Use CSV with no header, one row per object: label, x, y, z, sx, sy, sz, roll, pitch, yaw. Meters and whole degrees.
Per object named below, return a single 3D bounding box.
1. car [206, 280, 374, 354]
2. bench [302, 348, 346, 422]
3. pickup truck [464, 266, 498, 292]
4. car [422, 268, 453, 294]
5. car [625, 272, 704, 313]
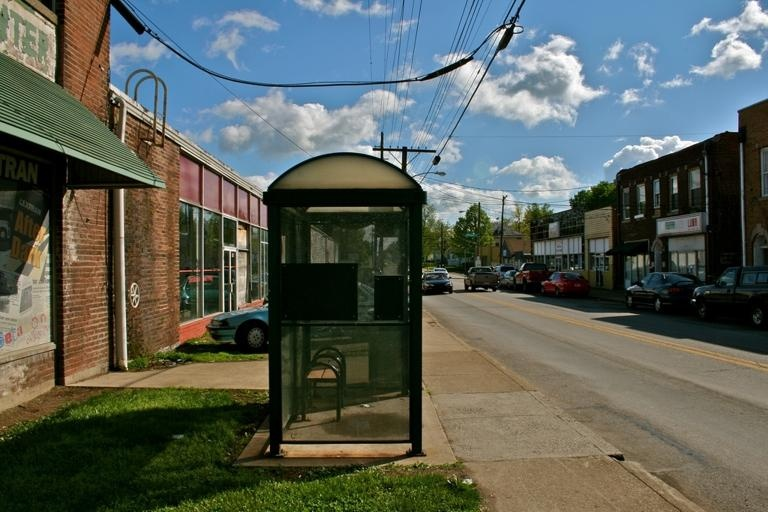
car,-1.872,1.173,12.664,3.542,1.266,1.814,1,-4,-4
bench,-1.022,2.126,11.407,0.506,0.886,1.380,3,2,-3
pickup truck,6.752,1.528,46.331,2.102,1.620,2.181,4,10,13
car,3.311,1.536,43.020,1.379,1.115,3.032,-2,-7,-1
car,11.039,1.378,26.846,1.299,1.008,3.079,-1,1,-2
